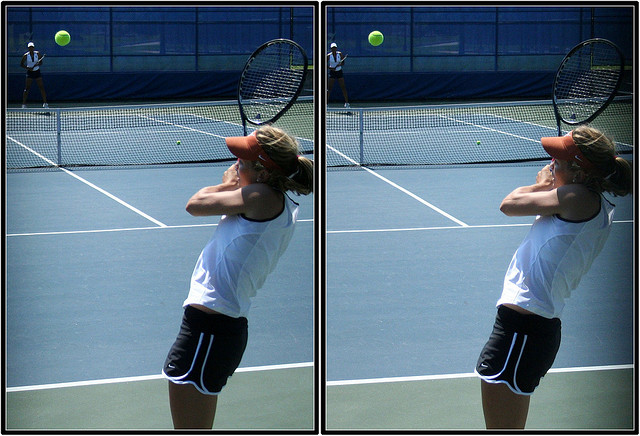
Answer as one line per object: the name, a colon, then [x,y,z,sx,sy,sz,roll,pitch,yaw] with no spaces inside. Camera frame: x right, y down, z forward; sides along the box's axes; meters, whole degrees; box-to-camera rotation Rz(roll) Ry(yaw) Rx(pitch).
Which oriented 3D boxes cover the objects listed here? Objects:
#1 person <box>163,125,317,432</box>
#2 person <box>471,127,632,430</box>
person: [-0.487,0.403,3.417,0.790,1.859,0.279,1,8,-15]
person: [1.365,0.389,3.520,0.803,1.876,0.351,-1,9,-27]
